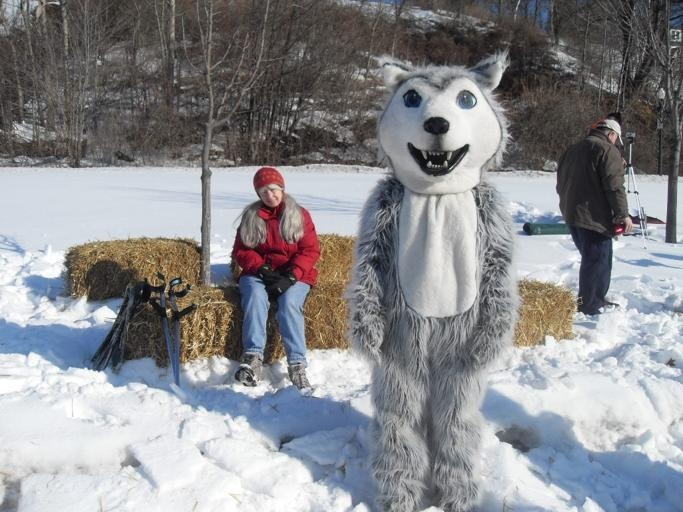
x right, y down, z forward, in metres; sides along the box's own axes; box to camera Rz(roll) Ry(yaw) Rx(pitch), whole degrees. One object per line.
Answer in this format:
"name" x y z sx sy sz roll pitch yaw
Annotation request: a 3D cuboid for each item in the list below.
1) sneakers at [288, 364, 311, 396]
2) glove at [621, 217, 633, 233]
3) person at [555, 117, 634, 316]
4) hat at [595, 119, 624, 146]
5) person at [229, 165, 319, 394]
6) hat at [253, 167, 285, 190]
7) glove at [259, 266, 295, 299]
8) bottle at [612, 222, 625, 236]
"sneakers" -0.494 1.434 8.681 0.172 0.415 0.174 -29 -32 10
"glove" 3.804 -0.411 9.866 0.210 0.231 0.121 -7 14 -38
"person" 3.429 -0.514 10.127 0.956 2.562 0.564 6 11 18
"hat" 3.673 -1.724 10.334 0.343 0.404 0.284 -3 10 -27
"person" -0.791 0.224 8.925 1.028 2.429 1.047 1 11 -9
"hat" -0.906 -0.953 9.222 0.255 0.266 0.313 -8 3 11
"glove" -0.769 0.301 8.862 0.376 0.394 0.161 -36 -7 -13
"bottle" 3.694 -0.346 9.920 0.101 0.102 0.129 0 5 6
